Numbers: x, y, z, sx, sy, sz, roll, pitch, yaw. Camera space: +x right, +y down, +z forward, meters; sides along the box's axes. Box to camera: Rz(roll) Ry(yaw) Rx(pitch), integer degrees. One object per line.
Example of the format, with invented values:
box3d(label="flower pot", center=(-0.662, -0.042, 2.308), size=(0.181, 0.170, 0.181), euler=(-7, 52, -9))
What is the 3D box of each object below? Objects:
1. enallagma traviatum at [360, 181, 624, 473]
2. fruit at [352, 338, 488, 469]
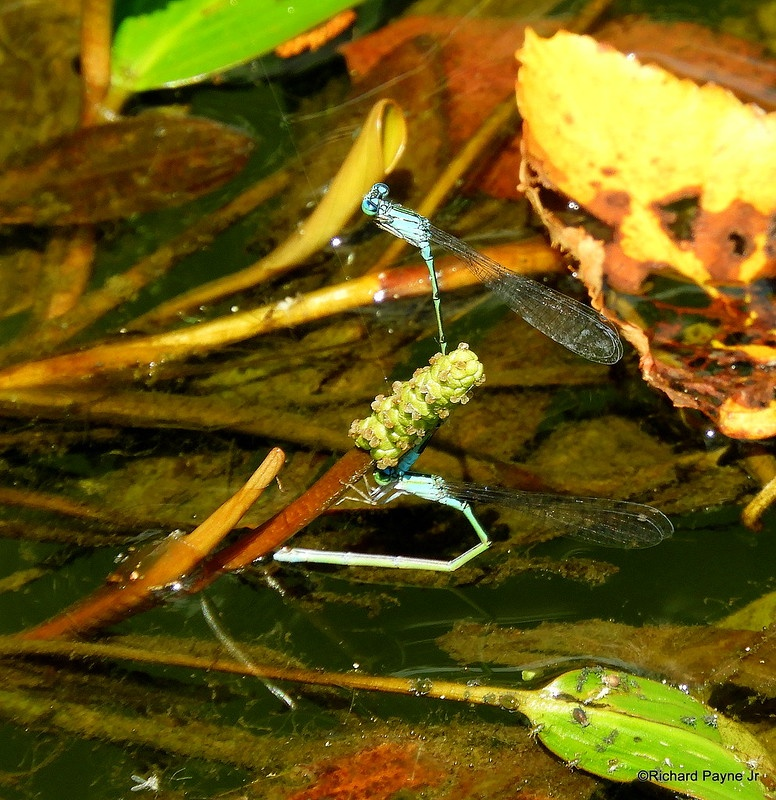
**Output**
box3d(label="enallagma traviatum", center=(0.281, -0.202, 1.663), size=(0.514, 0.152, 0.281), euler=(35, 38, 18))
box3d(label="fruit", center=(0.043, 0.022, 1.575), size=(0.192, 0.244, 0.079), euler=(18, 26, 29))
